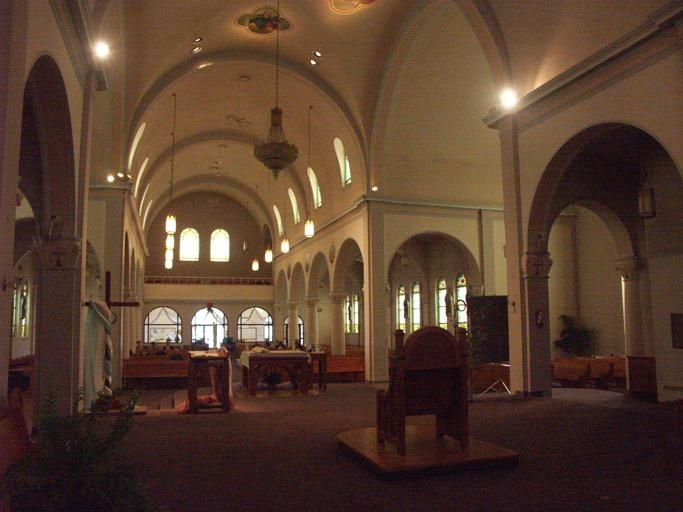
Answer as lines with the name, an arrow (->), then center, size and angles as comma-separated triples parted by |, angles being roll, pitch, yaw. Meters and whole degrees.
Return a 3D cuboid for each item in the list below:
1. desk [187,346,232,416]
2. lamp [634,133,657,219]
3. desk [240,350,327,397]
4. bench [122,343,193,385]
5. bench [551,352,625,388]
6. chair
desk -> -2.274, 2.308, 11.159 | 0.578, 0.715, 1.031 | 6, -1, 5
lamp -> 4.636, -1.034, 9.280 | 0.240, 1.010, 1.050 | -5, -10, 27
desk -> -1.356, 2.745, 14.732 | 1.987, 0.959, 3.006 | 0, -9, -4
bench -> -5.273, 3.211, 17.568 | 1.618, 0.971, 4.719 | 2, -9, -14
bench -> 5.744, 2.674, 14.067 | 1.174, 0.650, 1.857 | 2, -9, -16
chair -> 0.992, 1.521, 7.103 | 1.022, 1.401, 0.629 | 3, -9, -18
